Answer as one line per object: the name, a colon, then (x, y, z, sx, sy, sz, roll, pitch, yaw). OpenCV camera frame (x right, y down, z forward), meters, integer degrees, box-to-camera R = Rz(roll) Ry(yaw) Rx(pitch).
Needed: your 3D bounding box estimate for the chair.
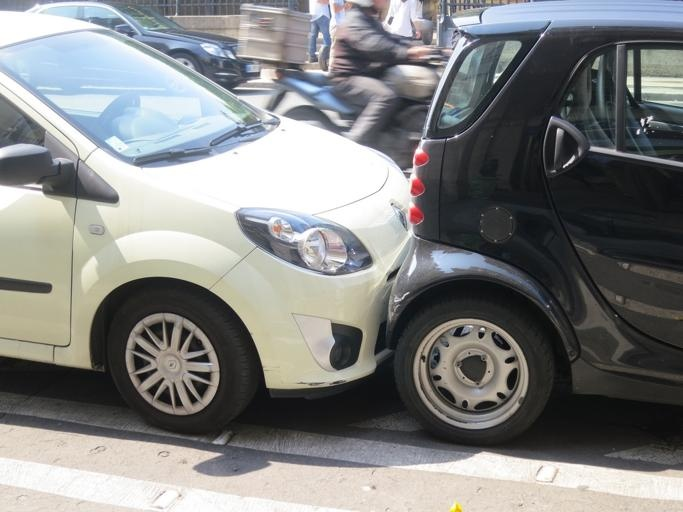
chair: (1.314, -0.676, 2.627, 0.492, 0.210, 0.307, 21, 10, 18)
